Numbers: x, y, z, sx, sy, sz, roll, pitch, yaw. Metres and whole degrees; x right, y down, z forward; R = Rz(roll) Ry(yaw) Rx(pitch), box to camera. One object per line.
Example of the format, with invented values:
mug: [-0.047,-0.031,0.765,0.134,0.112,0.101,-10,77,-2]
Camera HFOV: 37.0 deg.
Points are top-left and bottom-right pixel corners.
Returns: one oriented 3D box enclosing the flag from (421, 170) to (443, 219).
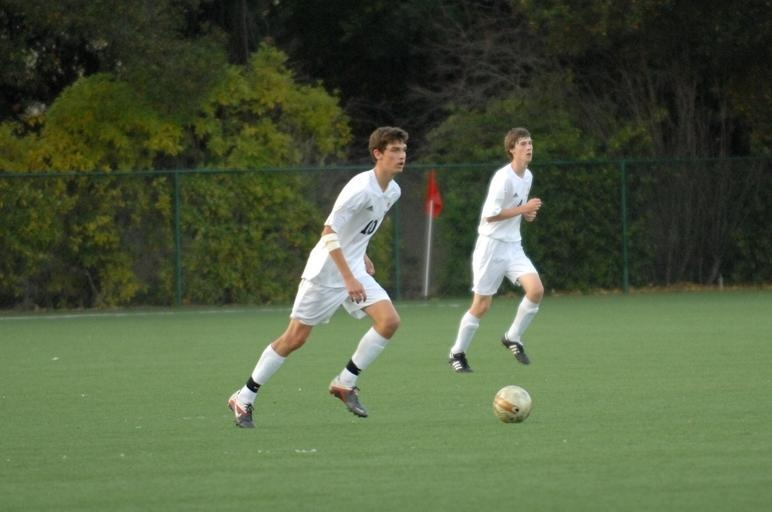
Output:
flag: [0.951,-1.279,23.235,0.349,0.926,0.514,-1,10,4]

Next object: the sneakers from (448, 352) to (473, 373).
sneakers: [1.027,1.485,16.203,0.391,0.261,0.301,3,10,22]

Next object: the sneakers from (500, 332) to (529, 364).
sneakers: [1.864,1.380,16.632,0.552,0.240,0.202,48,16,4]
